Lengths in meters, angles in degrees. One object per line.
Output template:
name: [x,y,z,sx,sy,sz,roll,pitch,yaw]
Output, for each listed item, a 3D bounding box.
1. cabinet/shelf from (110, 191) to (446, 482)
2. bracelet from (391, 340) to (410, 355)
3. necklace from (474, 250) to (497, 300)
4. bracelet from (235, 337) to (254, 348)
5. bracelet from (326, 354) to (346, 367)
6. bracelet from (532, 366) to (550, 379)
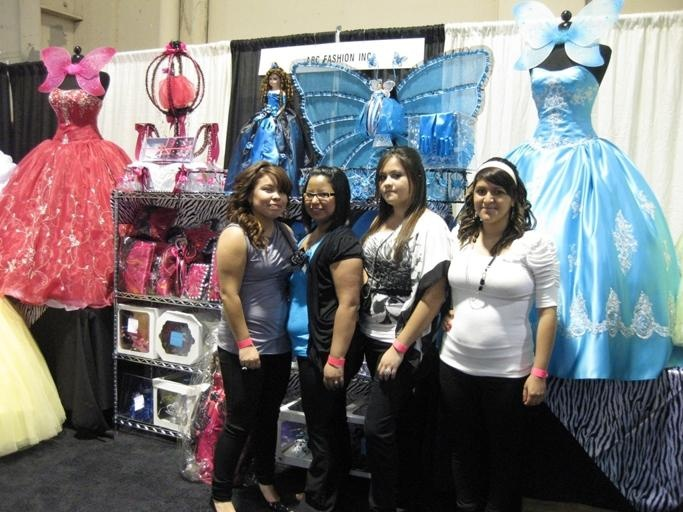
cabinet/shelf: [-0.302,0.437,2.709,1.471,1.416,0.461,5,11,18]
bracelet: [0.254,0.399,2.299,0.059,0.042,0.061,31,-3,17]
necklace: [0.618,0.084,2.288,0.038,0.219,0.025,23,1,26]
bracelet: [-0.458,0.398,2.468,0.056,0.026,0.055,-24,-15,40]
bracelet: [-0.027,0.473,2.367,0.073,0.059,0.037,-2,14,-2]
bracelet: [0.849,0.491,2.227,0.051,0.026,0.050,14,-11,-32]
